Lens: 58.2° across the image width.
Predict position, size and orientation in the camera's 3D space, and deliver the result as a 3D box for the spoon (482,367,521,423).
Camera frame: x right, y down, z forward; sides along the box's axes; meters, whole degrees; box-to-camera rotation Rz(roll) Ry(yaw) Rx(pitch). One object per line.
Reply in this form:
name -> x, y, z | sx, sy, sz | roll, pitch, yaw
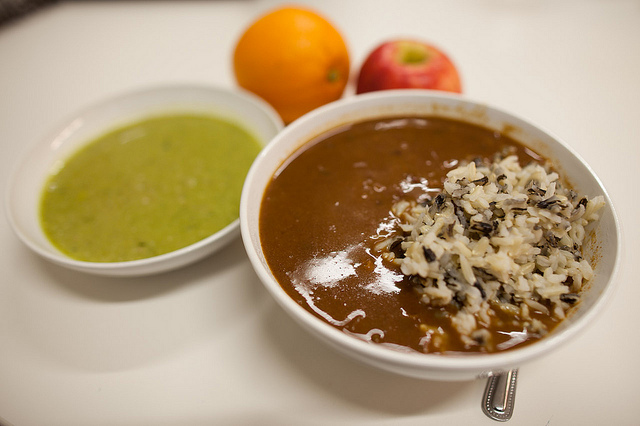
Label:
spoon -> 0.692, 0.697, 2.212 | 0.119, 0.062, 0.198 | 10, 69, 3
